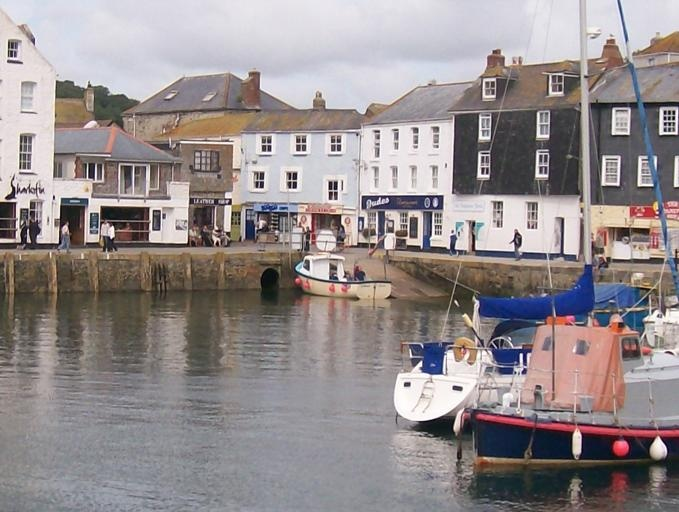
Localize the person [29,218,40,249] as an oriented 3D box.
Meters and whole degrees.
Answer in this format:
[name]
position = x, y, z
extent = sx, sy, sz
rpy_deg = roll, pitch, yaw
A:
[person]
position = -16.007, -1.284, 77.156
extent = 0.452, 1.502, 0.671
rpy_deg = 1, 0, -3
